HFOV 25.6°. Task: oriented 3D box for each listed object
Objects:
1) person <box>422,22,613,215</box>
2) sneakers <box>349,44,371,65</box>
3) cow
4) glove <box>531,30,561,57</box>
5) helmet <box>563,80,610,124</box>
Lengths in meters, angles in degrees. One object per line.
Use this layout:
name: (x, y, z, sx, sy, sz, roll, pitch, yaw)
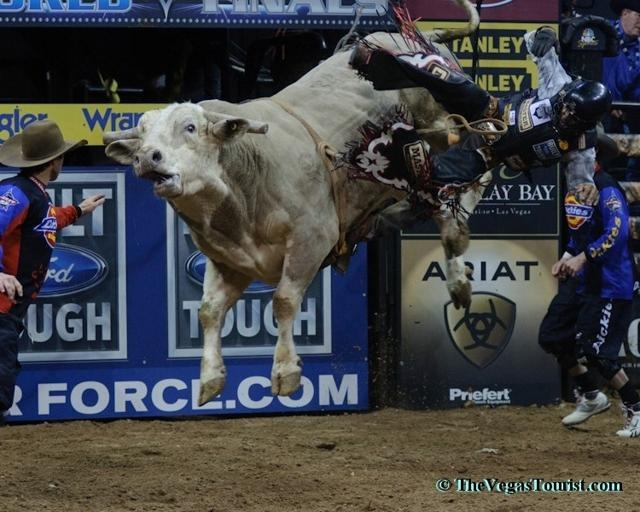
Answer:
person: (1.581, -0.968, 10.520, 1.027, 1.072, 0.441, -23, -5, -15)
sneakers: (0.289, -1.427, 10.019, 0.138, 0.145, 0.124, 3, -3, 17)
cow: (-0.168, -0.281, 9.919, 2.384, 2.511, 0.821, -7, 13, -28)
glove: (1.611, -1.548, 10.190, 0.192, 0.205, 0.179, 1, 11, 8)
helmet: (1.873, -1.097, 9.946, 0.273, 0.256, 0.346, -2, 21, 4)
